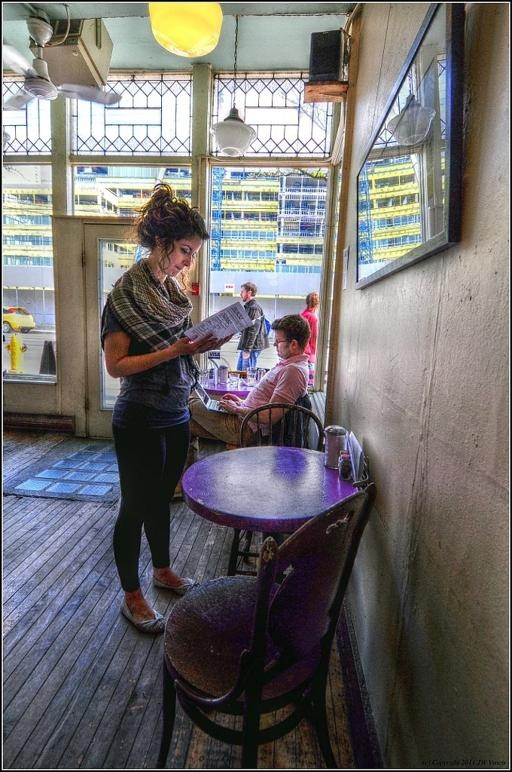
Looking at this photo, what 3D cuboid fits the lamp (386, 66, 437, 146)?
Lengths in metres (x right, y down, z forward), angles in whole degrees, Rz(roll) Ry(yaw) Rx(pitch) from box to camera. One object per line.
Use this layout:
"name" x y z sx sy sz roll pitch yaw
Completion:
"lamp" 0.367 -0.626 1.163 0.052 0.167 0.104 -3 6 -34

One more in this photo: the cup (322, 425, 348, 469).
"cup" 0.270 0.205 1.715 0.105 0.164 0.100 2 1 0

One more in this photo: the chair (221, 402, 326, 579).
"chair" -0.012 0.552 2.407 0.425 0.933 0.466 11 9 43

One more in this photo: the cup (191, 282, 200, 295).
"cup" -0.548 -0.873 4.519 0.076 0.183 0.087 2 11 2

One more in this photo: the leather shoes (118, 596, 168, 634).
"leather shoes" -0.422 0.843 1.877 0.174 0.084 0.073 3 -3 39
